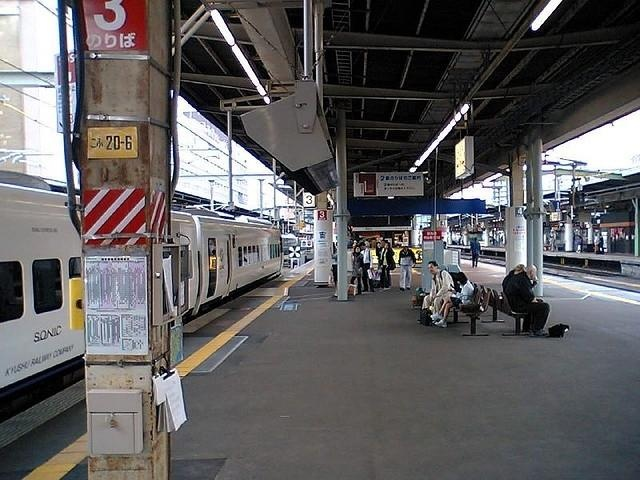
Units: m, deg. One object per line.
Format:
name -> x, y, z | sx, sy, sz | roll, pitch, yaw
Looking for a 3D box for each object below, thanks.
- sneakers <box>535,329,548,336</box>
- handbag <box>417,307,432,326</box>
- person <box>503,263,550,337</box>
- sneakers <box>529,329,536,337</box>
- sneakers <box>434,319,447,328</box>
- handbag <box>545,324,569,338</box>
sneakers -> 5.069, 2.128, 11.437 | 0.320, 0.158, 0.117 | -2, -3, 7
handbag -> 2.691, 1.979, 12.848 | 0.359, 0.643, 0.330 | -4, -10, 34
person -> 4.822, 1.403, 11.776 | 0.840, 1.633, 0.727 | -4, 5, -11
sneakers -> 4.858, 2.133, 11.503 | 0.108, 0.156, 0.246 | -3, -1, 23
sneakers -> 3.041, 2.093, 12.559 | 0.320, 0.188, 0.260 | -3, -1, -1
handbag -> 5.357, 2.030, 11.318 | 0.266, 0.323, 0.398 | -5, -6, 42
